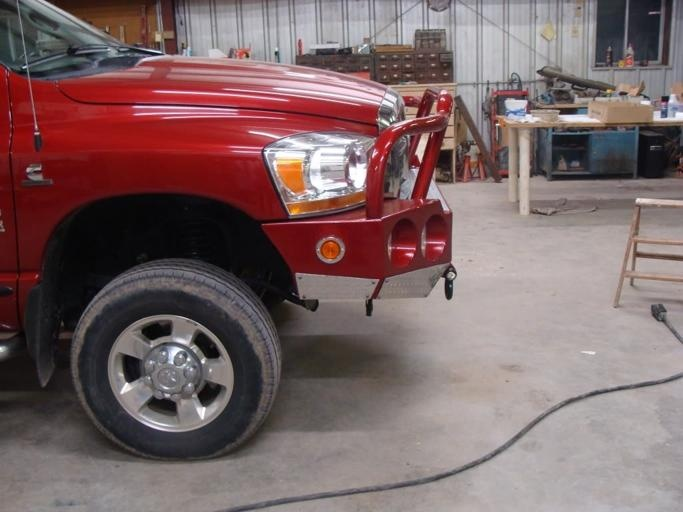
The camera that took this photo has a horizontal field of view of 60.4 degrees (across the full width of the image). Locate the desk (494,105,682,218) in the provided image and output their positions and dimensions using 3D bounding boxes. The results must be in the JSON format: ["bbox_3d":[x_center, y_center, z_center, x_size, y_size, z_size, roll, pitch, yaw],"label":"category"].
[{"bbox_3d":[2.958,-1.254,7.568,1.726,1.188,1.496,0,15,9],"label":"desk"}]

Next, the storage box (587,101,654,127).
[{"bbox_3d":[3.359,-1.694,7.030,0.663,0.267,0.559,3,16,18],"label":"storage box"}]

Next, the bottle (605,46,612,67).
[{"bbox_3d":[4.947,-3.624,10.822,0.124,0.321,0.407,4,16,24],"label":"bottle"}]

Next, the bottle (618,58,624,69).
[{"bbox_3d":[5.152,-3.517,10.816,0.125,0.145,0.198,2,16,18],"label":"bottle"}]

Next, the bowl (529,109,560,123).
[{"bbox_3d":[2.557,-1.741,7.410,0.242,0.115,0.310,0,10,4],"label":"bowl"}]

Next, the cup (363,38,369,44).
[{"bbox_3d":[0.473,-3.883,10.661,0.133,0.138,0.097,1,6,1],"label":"cup"}]

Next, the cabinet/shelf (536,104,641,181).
[{"bbox_3d":[4.056,-2.027,9.699,1.673,1.448,0.998,0,11,8],"label":"cabinet/shelf"}]
